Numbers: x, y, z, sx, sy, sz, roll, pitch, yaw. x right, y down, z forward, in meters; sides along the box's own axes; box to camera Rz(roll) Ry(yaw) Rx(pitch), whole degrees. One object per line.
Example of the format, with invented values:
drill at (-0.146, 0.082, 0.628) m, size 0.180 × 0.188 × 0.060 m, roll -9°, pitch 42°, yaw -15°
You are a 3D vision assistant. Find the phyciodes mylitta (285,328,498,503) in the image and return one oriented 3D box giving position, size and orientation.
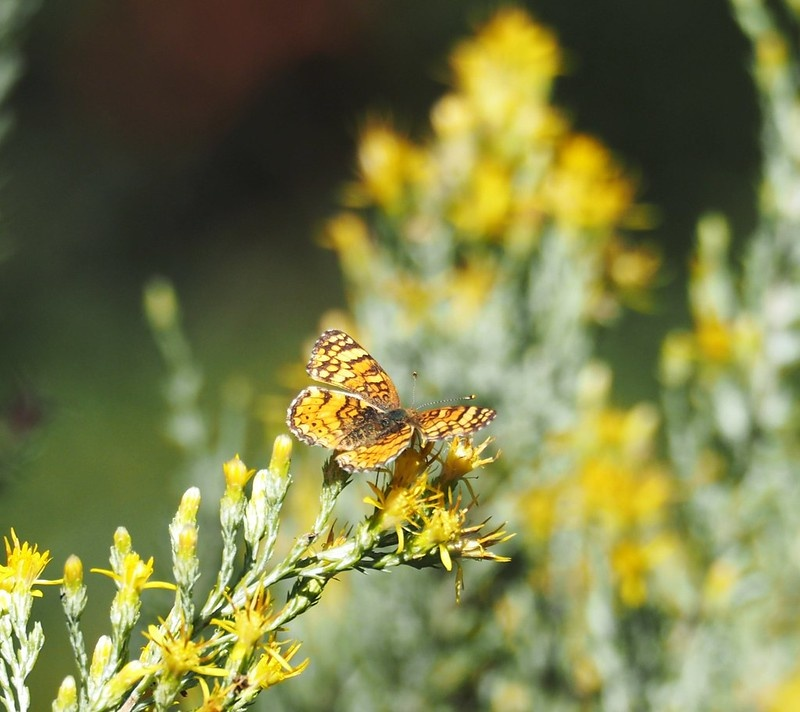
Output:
phyciodes mylitta at (-0.036, 0.080, 2.570) m, size 0.320 × 0.333 × 0.166 m, roll 3°, pitch -56°, yaw -19°
